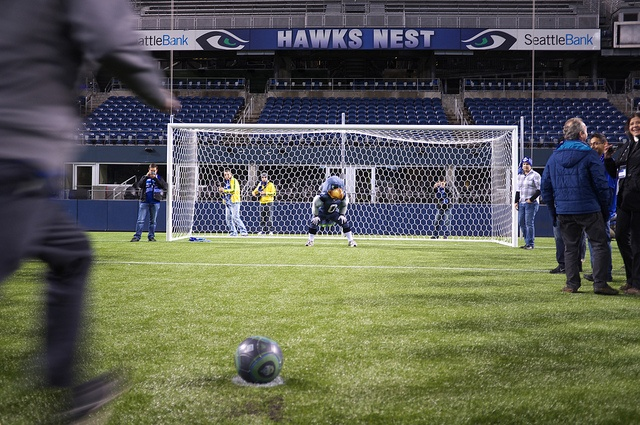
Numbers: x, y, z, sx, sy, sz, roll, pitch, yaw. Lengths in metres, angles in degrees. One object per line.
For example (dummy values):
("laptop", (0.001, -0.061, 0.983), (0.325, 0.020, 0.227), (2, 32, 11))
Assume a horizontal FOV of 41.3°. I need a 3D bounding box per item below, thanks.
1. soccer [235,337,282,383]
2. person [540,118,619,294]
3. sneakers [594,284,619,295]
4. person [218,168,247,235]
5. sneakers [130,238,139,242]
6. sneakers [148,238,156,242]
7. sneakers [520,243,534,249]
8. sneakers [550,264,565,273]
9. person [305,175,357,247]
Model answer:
("soccer", (-0.701, 1.690, 10.099), (0.616, 0.481, 0.532), (0, -2, 14))
("person", (3.795, -0.120, 12.409), (1.013, 2.540, 0.473), (0, -4, 16))
("sneakers", (4.159, 1.096, 12.372), (0.414, 0.142, 0.133), (-1, -2, -7))
("person", (-2.159, -0.267, 21.107), (0.662, 1.660, 1.321), (1, -3, -6))
("sneakers", (-4.022, 0.551, 18.353), (0.227, 0.069, 0.067), (2, -3, -9))
("sneakers", (-3.653, 0.556, 18.470), (0.168, 0.054, 0.049), (-2, 3, -8))
("sneakers", (4.387, 0.664, 17.906), (0.142, 0.127, 0.345), (3, 3, 12))
("sneakers", (3.850, 0.884, 13.688), (0.297, 0.104, 0.100), (0, 1, 37))
("person", (0.239, -0.040, 17.312), (1.013, 1.393, 1.059), (1, -3, -1))
